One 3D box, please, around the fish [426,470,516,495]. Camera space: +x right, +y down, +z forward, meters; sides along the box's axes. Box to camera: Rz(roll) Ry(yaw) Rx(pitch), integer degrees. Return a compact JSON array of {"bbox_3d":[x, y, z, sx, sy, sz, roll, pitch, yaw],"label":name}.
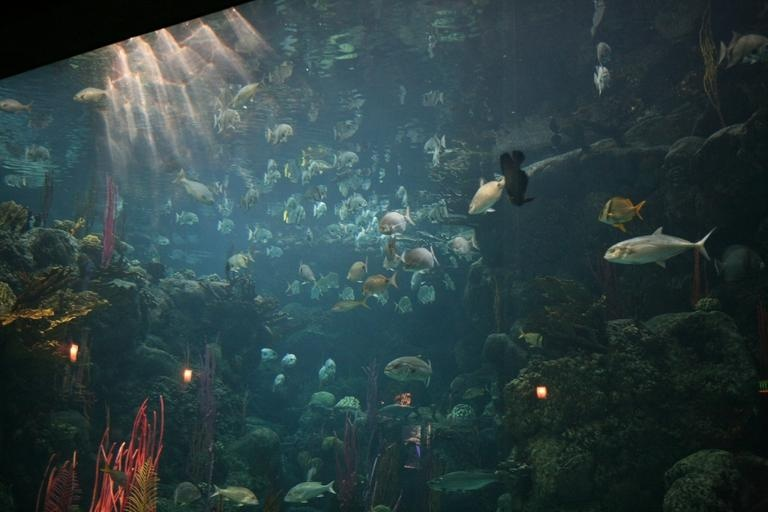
[{"bbox_3d":[2.662,7.377,25.240,2.351,0.561,0.471,-3,-16,1],"label":"fish"}]
